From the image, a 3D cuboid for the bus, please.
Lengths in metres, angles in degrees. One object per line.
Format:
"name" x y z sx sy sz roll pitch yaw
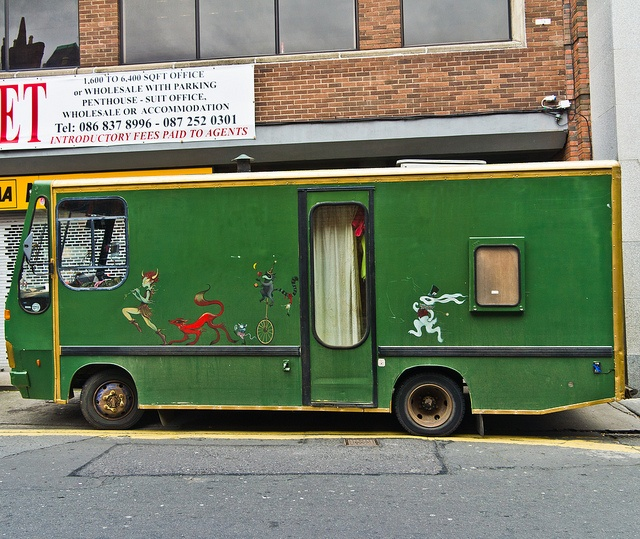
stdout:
"bus" 0.046 0.218 13.098 7.473 3.124 0.706 1 12 4
